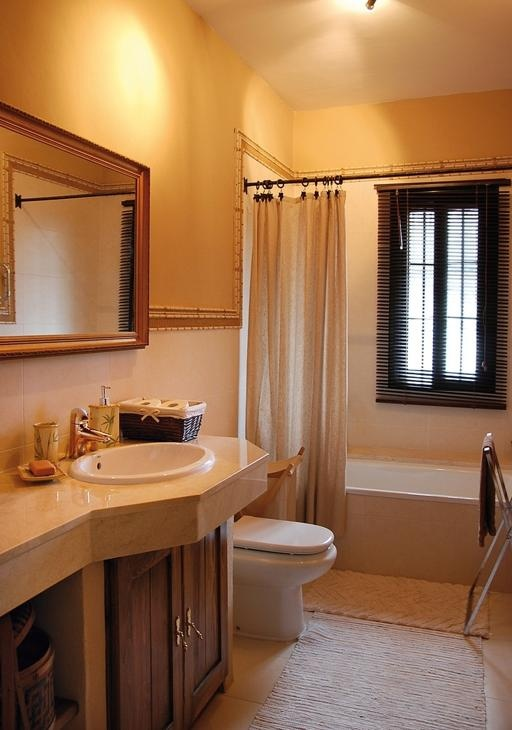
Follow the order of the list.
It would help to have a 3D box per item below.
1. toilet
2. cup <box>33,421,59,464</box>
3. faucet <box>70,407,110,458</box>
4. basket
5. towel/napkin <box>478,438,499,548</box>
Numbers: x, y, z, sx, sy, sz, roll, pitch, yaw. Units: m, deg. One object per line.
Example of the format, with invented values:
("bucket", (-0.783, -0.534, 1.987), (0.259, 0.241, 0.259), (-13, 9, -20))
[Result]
("toilet", (0.079, 0.834, 2.340), (0.495, 0.384, 0.304), (0, 4, 12))
("cup", (-0.565, 0.200, 1.549), (0.057, 0.099, 0.161), (0, 2, -23))
("faucet", (-0.462, 0.194, 1.613), (0.147, 0.132, 0.056), (9, 9, 32))
("basket", (-0.321, 0.182, 1.905), (0.187, 0.107, 0.153), (2, 4, 6))
("towel/napkin", (0.937, 0.515, 2.355), (0.055, 0.382, 0.175), (2, 6, 26))
